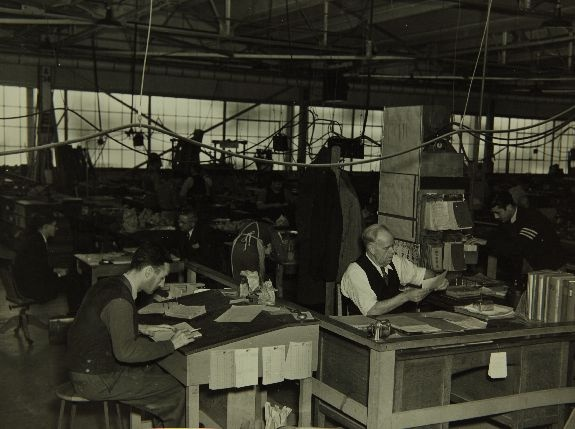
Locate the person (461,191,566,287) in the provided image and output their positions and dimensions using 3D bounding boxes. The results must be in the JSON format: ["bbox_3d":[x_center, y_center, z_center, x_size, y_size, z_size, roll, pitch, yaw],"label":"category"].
[{"bbox_3d":[3.095,0.375,10.633,0.917,1.495,1.544,-2,13,-11],"label":"person"}]

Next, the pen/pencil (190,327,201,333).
[{"bbox_3d":[-0.957,1.190,7.870,0.019,0.032,0.144,4,0,24],"label":"pen/pencil"}]

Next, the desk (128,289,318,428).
[{"bbox_3d":[-0.514,1.595,7.795,1.004,1.159,1.437,1,0,-17],"label":"desk"}]

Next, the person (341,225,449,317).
[{"bbox_3d":[1.160,0.636,8.540,1.042,1.055,0.816,-5,13,-21],"label":"person"}]

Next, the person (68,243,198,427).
[{"bbox_3d":[-1.609,1.321,8.024,1.232,2.198,1.097,-5,24,-22],"label":"person"}]

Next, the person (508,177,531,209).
[{"bbox_3d":[4.388,-0.421,14.565,0.492,0.269,1.044,3,24,4],"label":"person"}]
